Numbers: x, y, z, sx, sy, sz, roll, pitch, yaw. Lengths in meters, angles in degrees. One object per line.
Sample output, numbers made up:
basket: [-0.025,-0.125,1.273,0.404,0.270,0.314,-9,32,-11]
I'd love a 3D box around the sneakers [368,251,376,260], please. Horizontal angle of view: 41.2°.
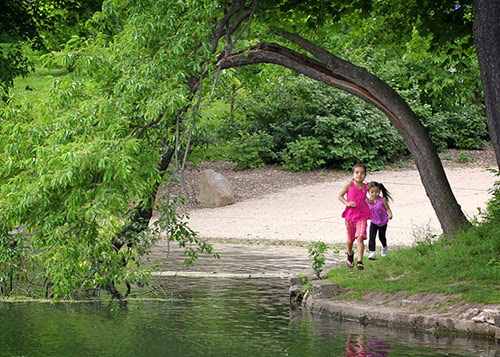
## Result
sneakers: [2.540,1.644,13.972,0.154,0.190,0.440,-1,-6,10]

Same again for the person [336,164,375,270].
person: [2.054,0.818,13.167,0.560,2.111,0.568,0,7,17]

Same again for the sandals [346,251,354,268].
sandals: [2.024,1.639,13.505,0.140,0.386,0.137,-1,-3,7]

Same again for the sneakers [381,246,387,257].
sneakers: [2.847,1.583,14.207,0.080,0.241,0.103,1,0,24]
